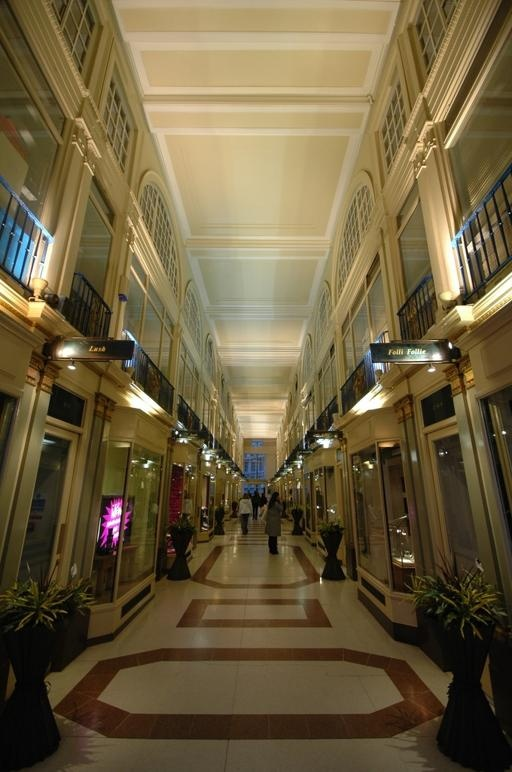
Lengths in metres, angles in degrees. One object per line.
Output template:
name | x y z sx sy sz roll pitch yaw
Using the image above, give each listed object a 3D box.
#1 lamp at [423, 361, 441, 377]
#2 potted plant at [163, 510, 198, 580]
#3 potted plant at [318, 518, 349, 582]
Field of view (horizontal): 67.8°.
lamp | 1.635 -0.152 3.408 0.059 0.143 0.086 -8 -14 -3
potted plant | -1.322 2.851 6.571 0.385 0.942 0.351 -5 -1 39
potted plant | 1.399 2.925 6.650 0.413 0.900 0.782 -3 -14 11
